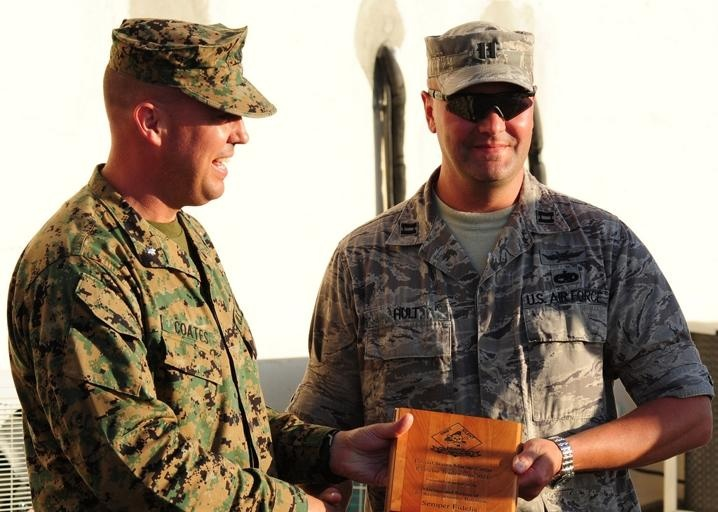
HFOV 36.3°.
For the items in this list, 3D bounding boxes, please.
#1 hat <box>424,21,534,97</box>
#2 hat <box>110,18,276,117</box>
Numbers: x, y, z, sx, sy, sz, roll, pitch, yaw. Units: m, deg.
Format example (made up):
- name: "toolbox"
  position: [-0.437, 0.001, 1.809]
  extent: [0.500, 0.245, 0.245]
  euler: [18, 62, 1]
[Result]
- name: "hat"
  position: [0.597, -0.946, 5.229]
  extent: [0.515, 0.335, 0.669]
  euler: [-3, 6, -4]
- name: "hat"
  position: [-0.700, -0.864, 4.714]
  extent: [0.754, 0.539, 0.323]
  euler: [14, -69, 5]
